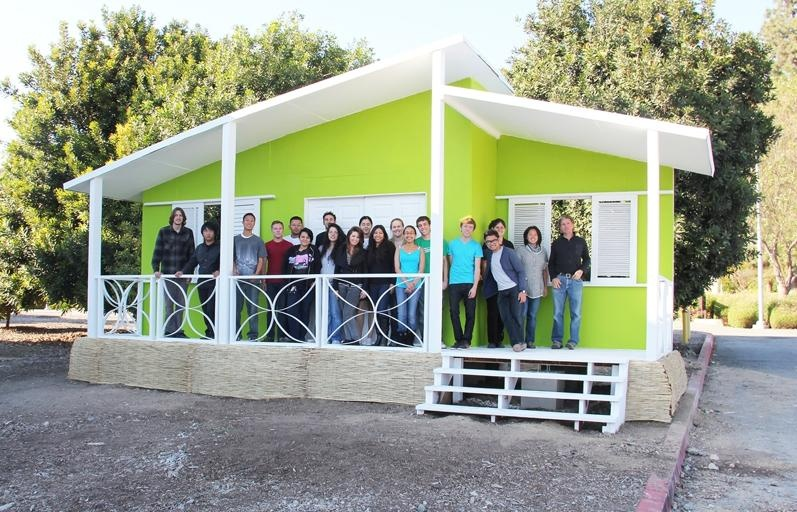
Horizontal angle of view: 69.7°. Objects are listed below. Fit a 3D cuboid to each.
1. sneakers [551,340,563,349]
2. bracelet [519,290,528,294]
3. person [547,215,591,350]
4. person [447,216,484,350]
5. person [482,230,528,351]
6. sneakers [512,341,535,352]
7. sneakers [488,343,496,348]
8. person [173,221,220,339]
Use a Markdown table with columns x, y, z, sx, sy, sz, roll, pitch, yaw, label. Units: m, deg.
| x | y | z | sx | sy | sz | roll | pitch | yaw | label |
| --- | --- | --- | --- | --- | --- | --- | --- | --- | --- |
| 3.048 | 1.725 | 11.020 | 0.205 | 0.144 | 0.404 | 3 | 7 | 15 | sneakers |
| 2.271 | 0.675 | 10.512 | 0.109 | 0.034 | 0.116 | 2 | 4 | 34 | bracelet |
| 3.270 | 0.524 | 11.050 | 0.748 | 2.504 | 0.553 | 2 | 7 | 7 | person |
| 1.217 | 0.480 | 10.661 | 0.642 | 2.360 | 0.782 | 1 | 7 | 3 | person |
| 2.020 | 0.586 | 10.588 | 0.656 | 2.088 | 1.249 | -2 | 8 | -24 | person |
| 2.247 | 1.648 | 10.339 | 0.141 | 0.188 | 0.424 | 5 | -18 | -43 | sneakers |
| 1.822 | 1.754 | 11.143 | 0.160 | 0.112 | 0.062 | -4 | 3 | -30 | sneakers |
| -4.032 | 0.602 | 11.854 | 0.747 | 2.548 | 1.451 | -4 | 9 | -35 | person |
